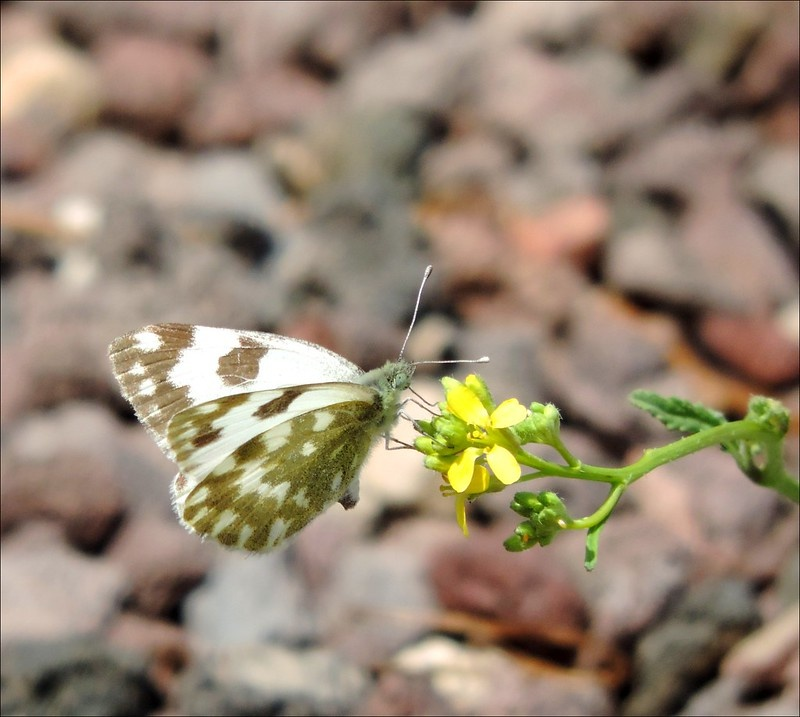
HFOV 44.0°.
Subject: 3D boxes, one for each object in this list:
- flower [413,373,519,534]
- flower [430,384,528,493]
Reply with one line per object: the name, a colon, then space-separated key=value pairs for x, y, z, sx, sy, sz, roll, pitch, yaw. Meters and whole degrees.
flower: x=0.253 y=0.317 z=3.436 sx=0.384 sy=0.154 sz=0.348 roll=33 pitch=21 yaw=-11
flower: x=0.294 y=0.250 z=3.365 sx=0.422 sy=0.106 sz=0.389 roll=0 pitch=22 yaw=-3
